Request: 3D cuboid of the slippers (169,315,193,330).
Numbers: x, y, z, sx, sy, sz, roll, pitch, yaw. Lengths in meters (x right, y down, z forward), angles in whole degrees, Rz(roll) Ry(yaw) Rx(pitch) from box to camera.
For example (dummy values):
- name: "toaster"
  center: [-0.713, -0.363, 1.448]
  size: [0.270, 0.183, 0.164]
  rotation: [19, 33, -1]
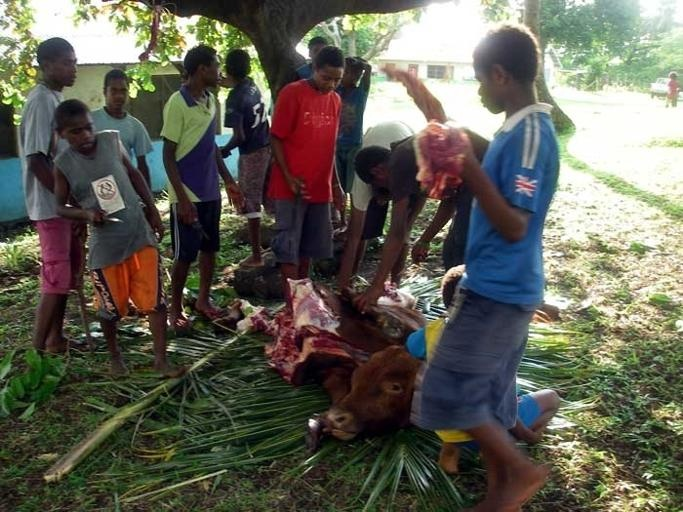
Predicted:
- name: "slippers"
  center: [-1.389, 0.569, 4.191]
  size: [0.154, 0.088, 0.132]
  rotation: [2, -16, -18]

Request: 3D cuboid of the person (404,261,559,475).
- name: "person"
  center: [0.806, 0.565, 2.747]
  size: [0.801, 1.088, 0.572]
  rotation: [-9, 17, -28]

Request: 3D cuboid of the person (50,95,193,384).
- name: "person"
  center: [-1.521, -0.119, 3.482]
  size: [0.959, 1.907, 0.482]
  rotation: [13, 17, 20]
